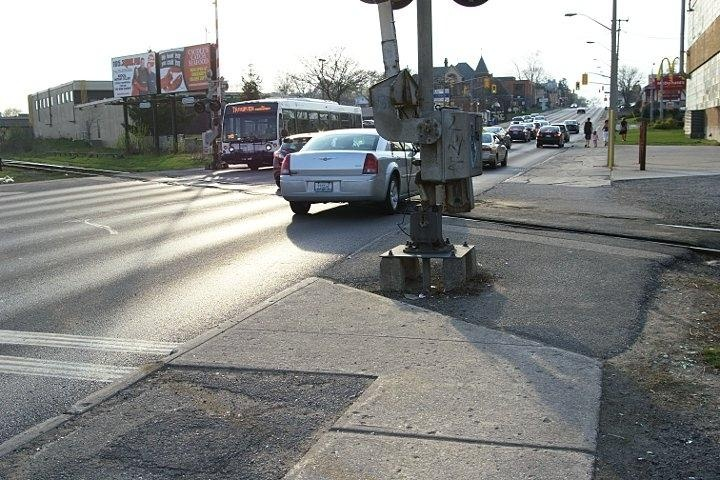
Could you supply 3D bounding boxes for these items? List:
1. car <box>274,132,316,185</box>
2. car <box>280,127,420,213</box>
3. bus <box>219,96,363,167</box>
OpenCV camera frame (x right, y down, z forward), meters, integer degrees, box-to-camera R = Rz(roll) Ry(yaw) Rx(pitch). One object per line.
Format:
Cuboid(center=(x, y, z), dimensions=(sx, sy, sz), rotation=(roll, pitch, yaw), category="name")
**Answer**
Cuboid(center=(-2.645, -3.213, 20.781), dimensions=(1.369, 1.263, 2.546), rotation=(0, 10, 4), category="car")
Cuboid(center=(-0.280, -1.621, 13.500), dimensions=(3.324, 2.140, 1.793), rotation=(-6, 11, -16), category="car")
Cuboid(center=(-3.753, -7.167, 38.117), dimensions=(3.755, 4.339, 12.988), rotation=(2, 6, 25), category="bus")
